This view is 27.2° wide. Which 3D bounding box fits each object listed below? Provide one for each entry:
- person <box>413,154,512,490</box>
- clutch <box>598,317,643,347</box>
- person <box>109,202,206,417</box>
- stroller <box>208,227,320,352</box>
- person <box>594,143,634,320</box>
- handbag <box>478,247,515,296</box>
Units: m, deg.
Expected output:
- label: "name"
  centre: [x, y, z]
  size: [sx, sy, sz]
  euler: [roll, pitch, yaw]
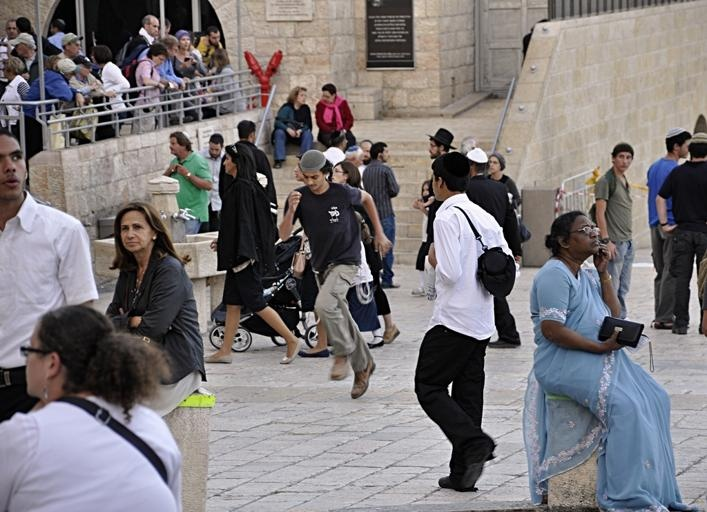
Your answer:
- label: "person"
  centre: [0.934, 0.581, 12.231]
  size: [0.893, 2.841, 1.013]
  euler: [1, 0, 20]
- label: "clutch"
  centre: [2.052, 0.594, 11.164]
  size: [0.326, 0.248, 0.193]
  euler: [1, 8, 20]
- label: "person"
  centre: [-1.471, 0.332, 11.103]
  size: [0.706, 1.647, 0.799]
  euler: [-2, 19, -11]
- label: "stroller"
  centre: [-1.045, 0.387, 16.335]
  size: [1.217, 1.378, 0.796]
  euler: [-4, -2, -16]
- label: "person"
  centre: [3.043, -0.227, 16.897]
  size: [0.383, 2.114, 0.725]
  euler: [6, 12, 31]
- label: "handbag"
  centre: [1.188, 0.132, 12.075]
  size: [0.322, 0.391, 0.220]
  euler: [-1, 7, 4]
